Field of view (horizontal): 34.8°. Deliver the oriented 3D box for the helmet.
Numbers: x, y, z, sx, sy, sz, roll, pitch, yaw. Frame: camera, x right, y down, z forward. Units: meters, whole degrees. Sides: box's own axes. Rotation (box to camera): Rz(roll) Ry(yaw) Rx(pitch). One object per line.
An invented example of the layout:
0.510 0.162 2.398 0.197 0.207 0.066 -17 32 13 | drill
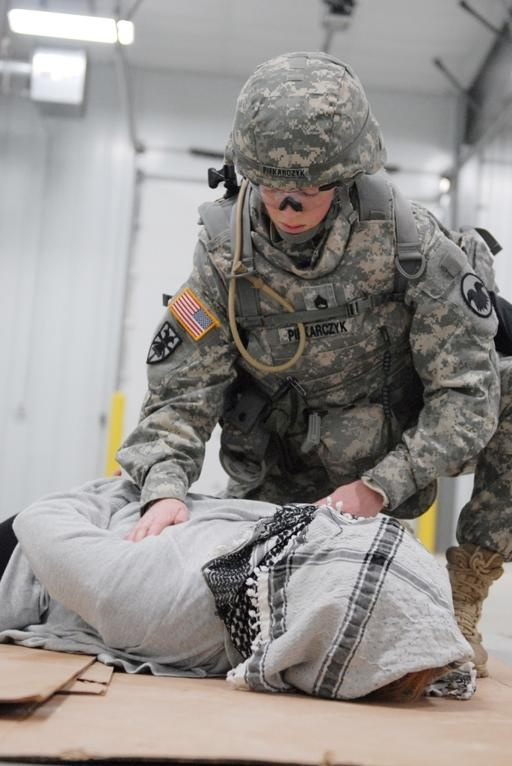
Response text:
0.111 -0.617 1.840 0.402 0.230 0.360 -8 42 -5 | helmet
